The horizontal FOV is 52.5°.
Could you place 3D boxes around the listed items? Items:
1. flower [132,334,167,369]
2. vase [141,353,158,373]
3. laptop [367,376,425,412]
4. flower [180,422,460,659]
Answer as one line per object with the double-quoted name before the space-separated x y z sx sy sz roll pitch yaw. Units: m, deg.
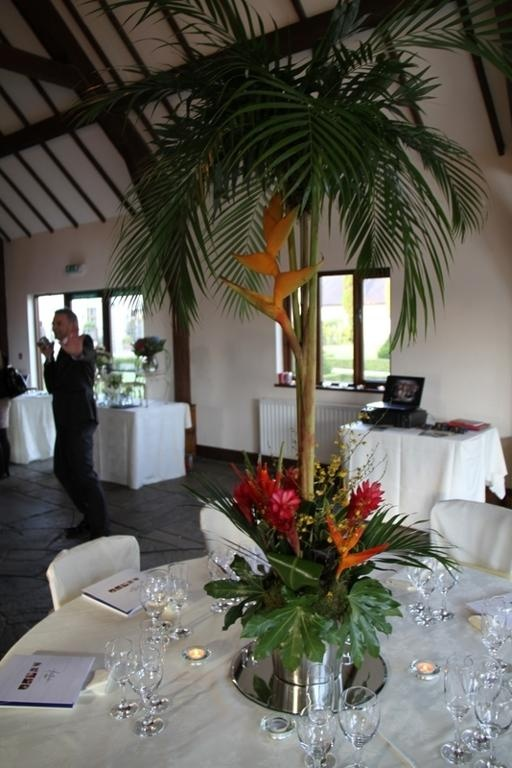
"flower" -1.245 -0.375 6.127 0.358 0.413 0.391 1 1 -6
"vase" -1.239 -0.251 6.076 0.192 0.247 0.202 -1 -8 5
"laptop" 1.285 0.083 4.602 0.374 0.365 0.284 6 3 31
"flower" 0.203 0.238 1.212 0.527 0.449 0.614 -1 3 -12
